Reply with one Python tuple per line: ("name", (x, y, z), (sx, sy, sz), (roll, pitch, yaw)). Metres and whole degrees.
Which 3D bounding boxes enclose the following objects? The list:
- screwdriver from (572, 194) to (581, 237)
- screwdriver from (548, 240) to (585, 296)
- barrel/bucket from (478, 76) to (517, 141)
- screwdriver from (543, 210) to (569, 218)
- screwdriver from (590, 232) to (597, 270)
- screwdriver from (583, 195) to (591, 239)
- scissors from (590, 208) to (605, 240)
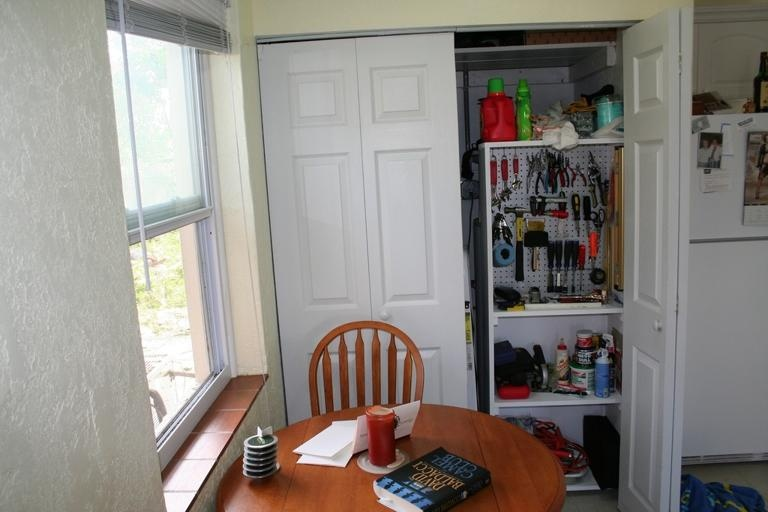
("screwdriver", (1.140, -0.240, 3.339), (0.051, 0.238, 0.032), (-2, 15, 8))
("screwdriver", (1.076, 0.068, 3.375), (0.196, 0.332, 0.083), (-1, 12, 7))
("barrel/bucket", (0.614, -0.808, 3.176), (0.200, 0.336, 0.223), (4, 12, 1))
("screwdriver", (1.013, -0.242, 3.327), (0.137, 0.049, 0.047), (3, -3, 0))
("screwdriver", (1.234, -0.046, 3.302), (0.043, 0.265, 0.043), (-1, 7, 1))
("screwdriver", (1.198, -0.234, 3.337), (0.041, 0.233, 0.041), (0, 11, 13))
("scissors", (1.265, -0.193, 3.334), (0.012, 0.162, 0.084), (-2, 7, -44))
